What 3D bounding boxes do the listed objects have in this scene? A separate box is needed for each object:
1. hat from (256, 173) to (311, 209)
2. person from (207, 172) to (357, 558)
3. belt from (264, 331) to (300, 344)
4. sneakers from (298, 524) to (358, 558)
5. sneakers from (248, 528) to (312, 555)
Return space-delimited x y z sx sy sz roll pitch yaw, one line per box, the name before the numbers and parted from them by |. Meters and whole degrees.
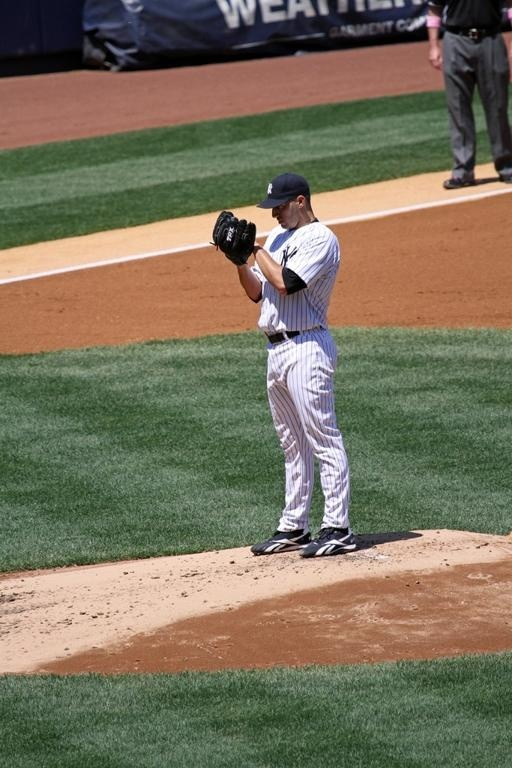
hat | 0.122 -0.859 6.847 0.220 0.153 0.264 -5 6 -5
person | 0.163 -0.073 6.947 0.413 1.729 0.511 -9 9 -43
belt | 0.114 -0.201 6.850 0.062 0.066 0.213 -8 7 -33
sneakers | 0.340 0.719 6.951 0.262 0.147 0.106 -10 -3 -15
sneakers | 0.127 0.736 7.142 0.300 0.148 0.112 -8 3 -8
